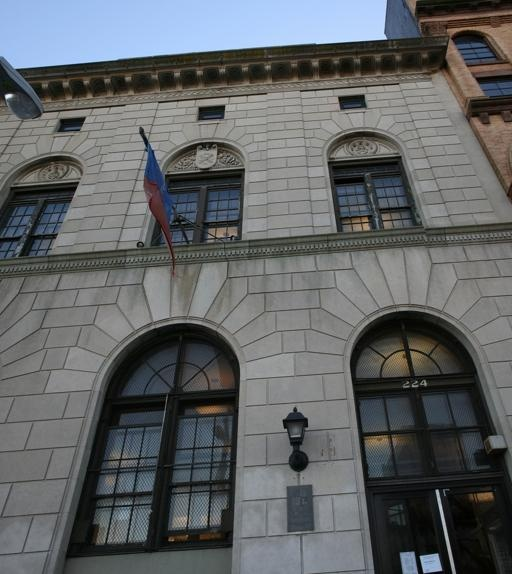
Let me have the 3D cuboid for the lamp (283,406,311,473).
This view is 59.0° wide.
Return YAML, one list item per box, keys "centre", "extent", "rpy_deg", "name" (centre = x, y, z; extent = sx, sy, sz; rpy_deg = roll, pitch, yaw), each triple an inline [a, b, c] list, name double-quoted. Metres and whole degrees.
- centre: [0.614, 2.305, 6.881]
  extent: [0.406, 0.902, 0.595]
  rpy_deg: [-3, -33, 4]
  name: "lamp"
